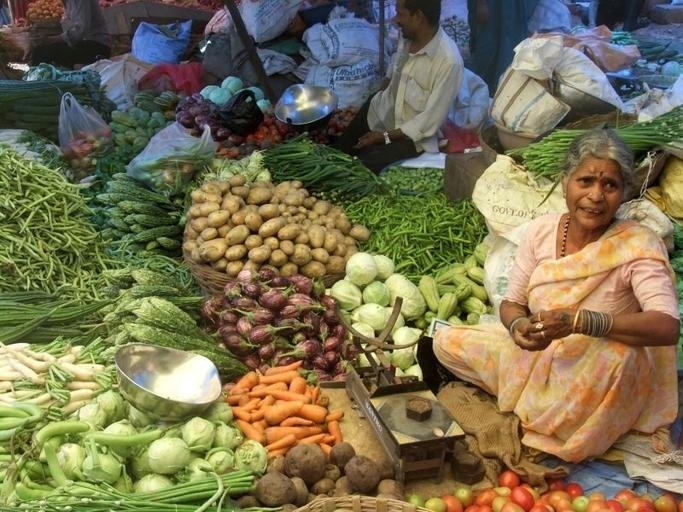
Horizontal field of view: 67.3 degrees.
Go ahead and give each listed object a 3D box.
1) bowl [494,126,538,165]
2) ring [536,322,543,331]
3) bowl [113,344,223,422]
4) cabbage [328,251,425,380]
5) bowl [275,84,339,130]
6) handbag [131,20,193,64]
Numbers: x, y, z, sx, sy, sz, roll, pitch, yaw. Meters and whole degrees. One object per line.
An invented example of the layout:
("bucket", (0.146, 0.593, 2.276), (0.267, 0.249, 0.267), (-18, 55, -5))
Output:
("bowl", (1.603, -1.092, 5.011), (0.467, 0.368, 0.348), (-11, 24, -25))
("ring", (1.056, 0.377, 2.749), (0.038, 0.032, 0.009), (-9, -14, 42))
("bowl", (-1.043, 0.767, 3.028), (0.487, 0.257, 0.526), (-1, 17, 0))
("cabbage", (0.420, 0.437, 4.072), (0.771, 0.931, 0.720), (-8, 23, -24))
("bowl", (-0.470, -1.967, 6.606), (0.771, 0.231, 0.702), (-1, 63, 1))
("handbag", (-2.863, -3.423, 8.198), (1.016, 0.511, 0.700), (-22, 42, -33))
